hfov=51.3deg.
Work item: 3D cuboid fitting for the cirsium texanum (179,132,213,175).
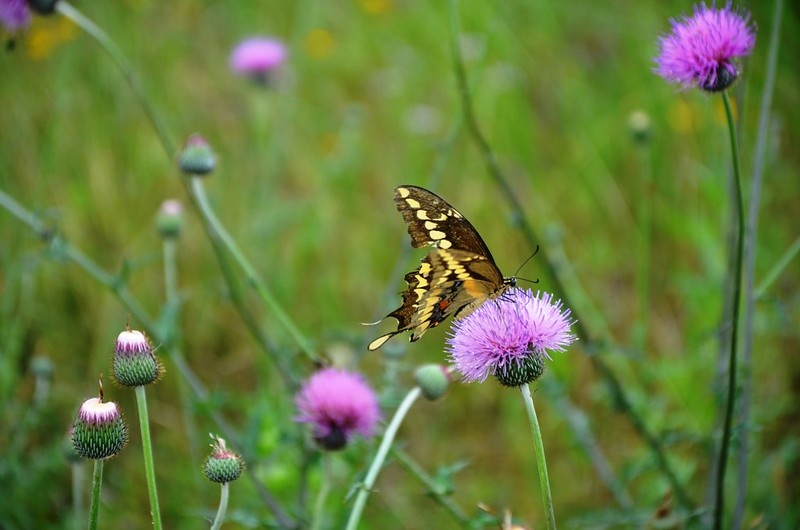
[{"bbox_3d":[-1.017,-0.553,4.140,0.193,0.213,0.195,8,12,36],"label":"cirsium texanum"}]

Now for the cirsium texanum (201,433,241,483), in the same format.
[{"bbox_3d":[-0.844,0.924,3.947,0.143,0.219,0.150,0,6,12],"label":"cirsium texanum"}]

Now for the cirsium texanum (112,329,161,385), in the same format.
[{"bbox_3d":[-1.262,0.446,3.943,0.192,0.273,0.209,3,11,15],"label":"cirsium texanum"}]

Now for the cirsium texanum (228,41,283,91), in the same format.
[{"bbox_3d":[-0.841,-1.226,4.995,0.348,0.302,0.181,-19,22,-9],"label":"cirsium texanum"}]
